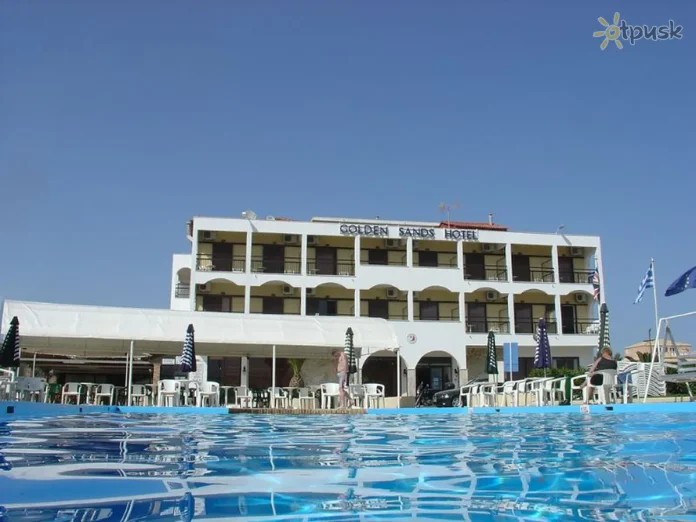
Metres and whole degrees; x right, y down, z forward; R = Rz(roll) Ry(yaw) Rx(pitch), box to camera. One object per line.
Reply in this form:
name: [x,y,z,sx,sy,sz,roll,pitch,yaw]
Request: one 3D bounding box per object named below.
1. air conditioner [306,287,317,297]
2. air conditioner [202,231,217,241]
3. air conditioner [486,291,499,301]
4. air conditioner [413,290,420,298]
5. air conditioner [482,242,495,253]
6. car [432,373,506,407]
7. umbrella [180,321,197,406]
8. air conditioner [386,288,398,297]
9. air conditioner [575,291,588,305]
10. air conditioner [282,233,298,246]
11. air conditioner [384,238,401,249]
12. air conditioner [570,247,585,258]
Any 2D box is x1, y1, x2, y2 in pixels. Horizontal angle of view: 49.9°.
air conditioner: [-2.127,1.681,42.537,0.787,0.369,0.476,-1,-4,-2]
air conditioner: [-7.839,-1.480,42.491,1.098,0.609,0.518,1,-2,-15]
air conditioner: [8.732,2.063,45.172,0.662,0.395,0.605,2,-9,-14]
air conditioner: [3.974,1.885,43.861,0.562,0.450,0.280,10,-19,-39]
air conditioner: [8.697,-0.834,46.307,1.055,0.604,0.518,0,-9,-2]
car: [4.709,5.074,29.003,2.616,0.797,1.126,2,-15,-3]
umbrella: [-5.152,2.787,24.235,0.491,1.354,1.353,8,10,-11]
air conditioner: [2.544,1.833,43.840,0.914,0.631,0.451,1,-5,-14]
air conditioner: [14.430,2.198,46.365,1.162,0.962,0.574,0,-1,-5]
air conditioner: [-3.390,-1.224,43.343,1.114,0.596,0.553,3,-9,-22]
air conditioner: [2.728,-1.055,44.976,0.921,0.924,0.549,-10,-1,11]
air conditioner: [14.439,-0.591,47.181,1.196,0.860,0.554,1,-6,-6]
